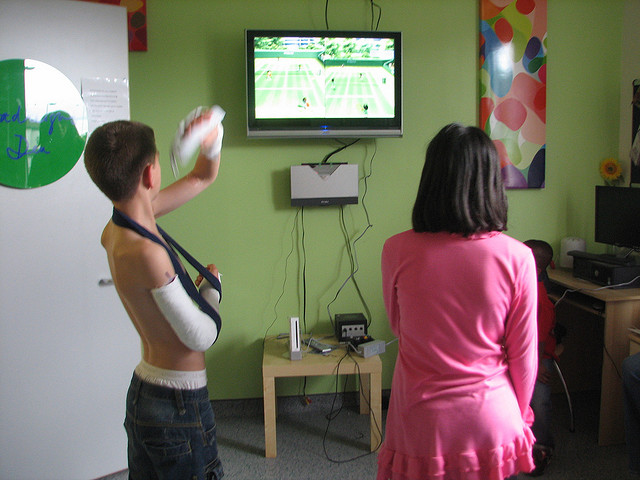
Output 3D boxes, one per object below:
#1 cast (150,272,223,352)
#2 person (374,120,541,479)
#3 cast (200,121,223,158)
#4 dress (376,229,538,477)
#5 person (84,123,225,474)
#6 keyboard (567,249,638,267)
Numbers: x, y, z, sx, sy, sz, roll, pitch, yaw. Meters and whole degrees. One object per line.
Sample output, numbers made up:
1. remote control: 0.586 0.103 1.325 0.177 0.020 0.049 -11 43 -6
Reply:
1. cast: -0.499 0.285 2.168 0.091 0.309 0.222 -22 7 23
2. person: 0.533 0.269 2.197 0.620 1.428 0.307 3 10 21
3. cast: -0.457 -0.421 2.362 0.088 0.149 0.123 -4 10 -17
4. dress: 0.537 0.458 2.214 0.608 0.996 0.283 3 10 21
5. person: -0.649 0.232 2.284 0.491 1.388 0.470 -3 10 -13
6. keyboard: 1.897 0.120 3.796 0.183 0.046 0.425 -10 14 -43
